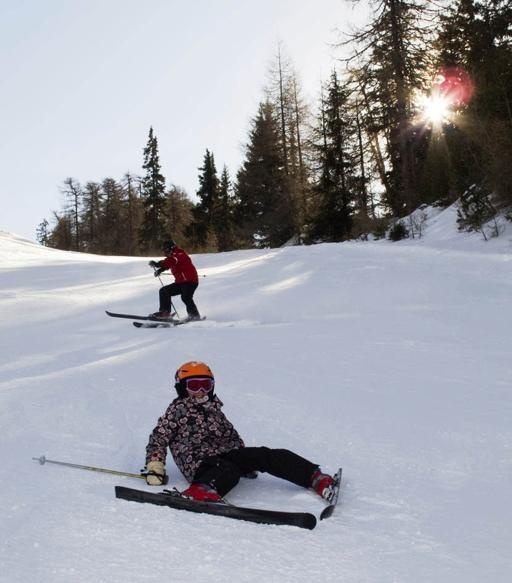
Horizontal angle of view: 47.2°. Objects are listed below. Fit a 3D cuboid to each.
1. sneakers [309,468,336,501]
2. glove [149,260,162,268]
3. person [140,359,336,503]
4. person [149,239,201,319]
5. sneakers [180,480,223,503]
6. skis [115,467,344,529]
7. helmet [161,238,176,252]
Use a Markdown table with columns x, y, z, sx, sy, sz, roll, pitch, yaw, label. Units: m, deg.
| x | y | z | sx | sy | sz | roll | pitch | yaw | label |
| --- | --- | --- | --- | --- | --- | --- | --- | --- | --- |
| 0.402 | 1.149 | 3.475 | 0.105 | 0.062 | 0.159 | -8 | 24 | -35 | sneakers |
| -1.591 | -0.422 | 9.140 | 0.155 | 0.073 | 0.210 | 1 | 4 | -29 | glove |
| -0.131 | 0.903 | 3.686 | 1.297 | 0.732 | 0.902 | 3 | -2 | 35 | person |
| -1.270 | -0.196 | 9.052 | 0.752 | 1.150 | 0.930 | 0 | 10 | -9 | person |
| -0.308 | 1.152 | 3.370 | 0.193 | 0.065 | 0.093 | 3 | 0 | 4 | sneakers |
| -0.153 | 1.192 | 3.359 | 1.531 | 0.185 | 0.146 | 2 | 3 | 13 | skis |
| -1.353 | -0.723 | 9.245 | 0.224 | 0.241 | 0.273 | -3 | -4 | -14 | helmet |
